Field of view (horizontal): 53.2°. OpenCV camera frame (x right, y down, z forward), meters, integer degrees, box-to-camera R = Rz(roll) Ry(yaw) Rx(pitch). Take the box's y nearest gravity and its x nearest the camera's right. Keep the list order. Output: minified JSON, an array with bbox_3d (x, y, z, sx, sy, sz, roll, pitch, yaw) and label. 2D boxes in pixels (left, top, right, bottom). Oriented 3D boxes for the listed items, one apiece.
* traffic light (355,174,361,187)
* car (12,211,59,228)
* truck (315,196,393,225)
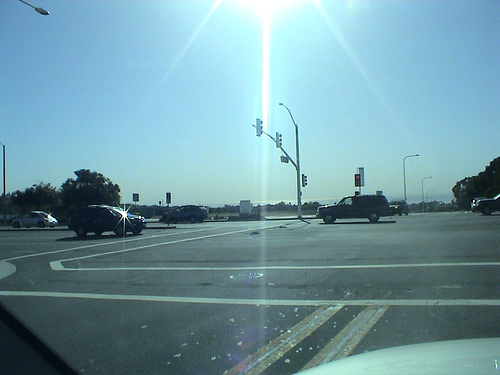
[{"bbox_3d":[10.238,-0.663,46.966,0.391,0.776,1.045,-1,0,30],"label":"traffic light"},{"bbox_3d":[-17.928,2.725,41.744,3.431,1.387,1.297,-1,0,12],"label":"car"},{"bbox_3d":[6.732,1.532,31.786,5.497,2.071,4.642,2,2,20],"label":"truck"}]
